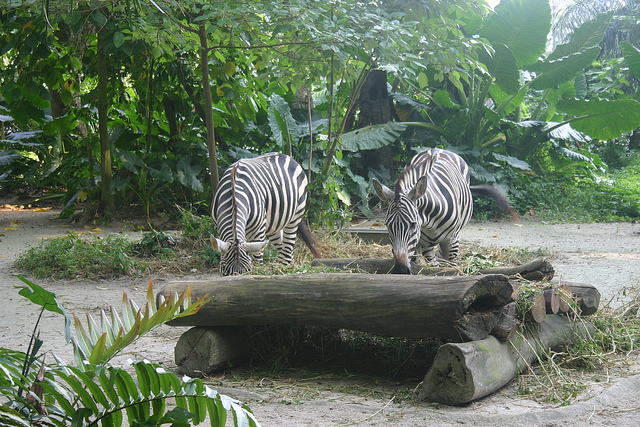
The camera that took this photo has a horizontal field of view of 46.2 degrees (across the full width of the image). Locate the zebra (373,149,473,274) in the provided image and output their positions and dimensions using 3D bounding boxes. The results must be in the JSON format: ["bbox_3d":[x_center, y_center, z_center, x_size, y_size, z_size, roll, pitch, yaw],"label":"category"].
[{"bbox_3d":[1.525,-0.093,11.076,0.959,1.756,2.412,7,5,22],"label":"zebra"}]

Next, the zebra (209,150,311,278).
[{"bbox_3d":[-0.922,-0.023,11.234,1.278,1.767,2.693,5,5,1],"label":"zebra"}]

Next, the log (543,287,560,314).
[{"bbox_3d":[2.936,1.099,9.487,0.272,0.281,0.305,7,-9,-4],"label":"log"}]

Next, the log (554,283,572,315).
[{"bbox_3d":[3.091,1.104,9.619,0.079,0.345,0.348,-4,-32,9],"label":"log"}]

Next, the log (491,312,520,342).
[{"bbox_3d":[2.278,1.395,9.168,0.328,0.354,0.122,32,-12,11],"label":"log"}]

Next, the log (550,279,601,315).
[{"bbox_3d":[3.359,1.068,9.926,0.637,0.243,0.367,14,28,31],"label":"log"}]
